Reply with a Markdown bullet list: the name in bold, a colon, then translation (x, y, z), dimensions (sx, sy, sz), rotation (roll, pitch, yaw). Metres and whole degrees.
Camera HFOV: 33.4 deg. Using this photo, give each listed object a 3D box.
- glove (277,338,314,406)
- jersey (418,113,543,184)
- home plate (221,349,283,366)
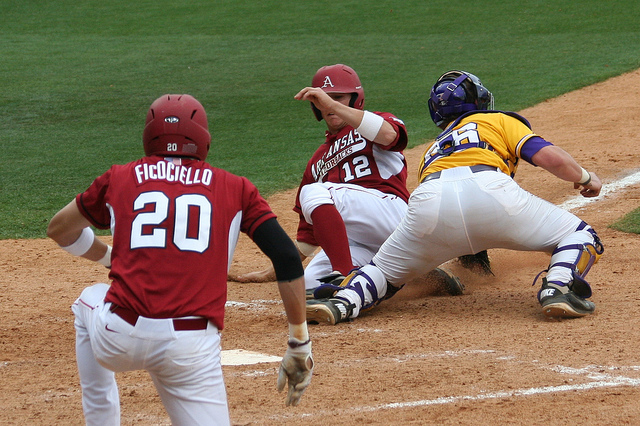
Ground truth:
- **glove**: translation (-0.226, 1.425, 9.739), dimensions (0.333, 0.528, 0.177), rotation (-4, 20, -2)
- **jersey**: translation (1.656, -0.661, 11.149), dimensions (1.473, 0.630, 0.484), rotation (-1, -29, 26)
- **home plate**: translation (-0.683, 1.401, 10.728), dimensions (0.595, 0.066, 0.286), rotation (-3, 15, -4)
